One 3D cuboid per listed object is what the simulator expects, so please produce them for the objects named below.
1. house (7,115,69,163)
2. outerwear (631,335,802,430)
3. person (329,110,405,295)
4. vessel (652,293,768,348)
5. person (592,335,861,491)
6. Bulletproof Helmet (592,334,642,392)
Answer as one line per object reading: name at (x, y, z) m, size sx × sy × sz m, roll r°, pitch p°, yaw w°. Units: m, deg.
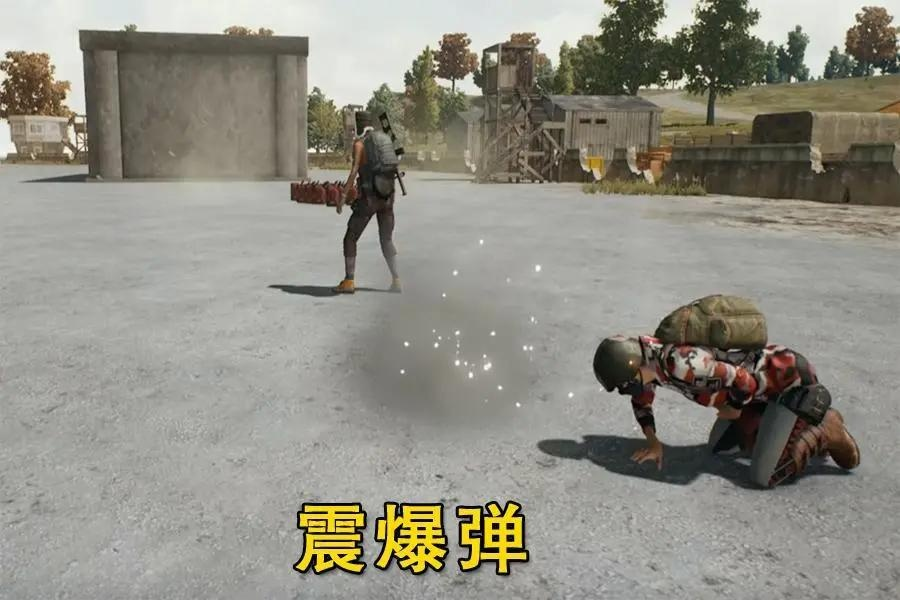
house at (-39.598, -15.757, 57.611) m, size 2.027 × 3.543 × 4.206 m, roll 11°, pitch 18°, yaw 39°
outerwear at (1.620, 0.400, 3.574) m, size 0.707 × 0.394 × 0.537 m, roll -10°, pitch -2°, yaw -8°
person at (-1.019, -1.213, 7.421) m, size 0.921 × 2.172 × 0.942 m, roll -5°, pitch 14°, yaw -16°
vessel at (1.529, 0.142, 3.467) m, size 0.608 × 0.315 × 0.212 m, roll -1°, pitch 14°, yaw -3°
person at (1.668, 0.611, 3.825) m, size 1.374 × 0.828 × 0.882 m, roll -6°, pitch 11°, yaw 2°
Bulletproof Helmet at (1.023, 0.361, 3.630) m, size 0.242 × 0.318 × 0.325 m, roll -1°, pitch 39°, yaw 28°
